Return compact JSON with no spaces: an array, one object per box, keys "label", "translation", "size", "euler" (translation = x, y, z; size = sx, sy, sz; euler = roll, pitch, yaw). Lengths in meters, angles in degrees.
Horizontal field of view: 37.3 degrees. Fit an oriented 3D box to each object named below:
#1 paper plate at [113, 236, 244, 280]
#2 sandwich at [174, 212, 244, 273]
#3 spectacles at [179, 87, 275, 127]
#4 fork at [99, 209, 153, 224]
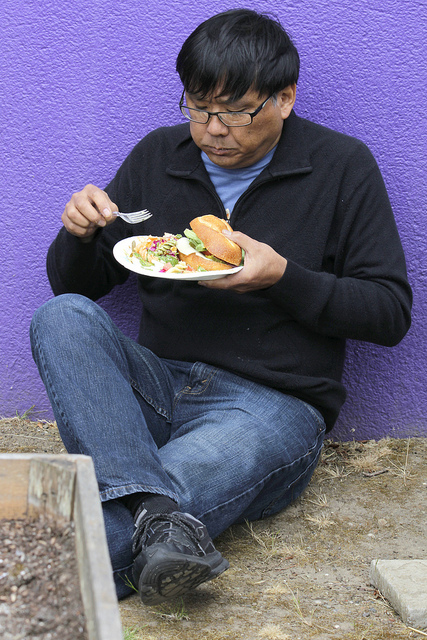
[{"label":"paper plate","translation":[-0.099,-0.203,2.037],"size":[0.345,0.093,0.492],"euler":[-6,10,-21]},{"label":"sandwich","translation":[-0.023,-0.253,2.072],"size":[0.196,0.089,0.239],"euler":[-17,40,-24]},{"label":"spectacles","translation":[0.051,-0.649,2.005],"size":[0.271,0.074,0.098],"euler":[-5,27,6]},{"label":"fork","translation":[-0.276,-0.370,2.242],"size":[0.041,0.035,0.280],"euler":[-31,-19,38]}]
